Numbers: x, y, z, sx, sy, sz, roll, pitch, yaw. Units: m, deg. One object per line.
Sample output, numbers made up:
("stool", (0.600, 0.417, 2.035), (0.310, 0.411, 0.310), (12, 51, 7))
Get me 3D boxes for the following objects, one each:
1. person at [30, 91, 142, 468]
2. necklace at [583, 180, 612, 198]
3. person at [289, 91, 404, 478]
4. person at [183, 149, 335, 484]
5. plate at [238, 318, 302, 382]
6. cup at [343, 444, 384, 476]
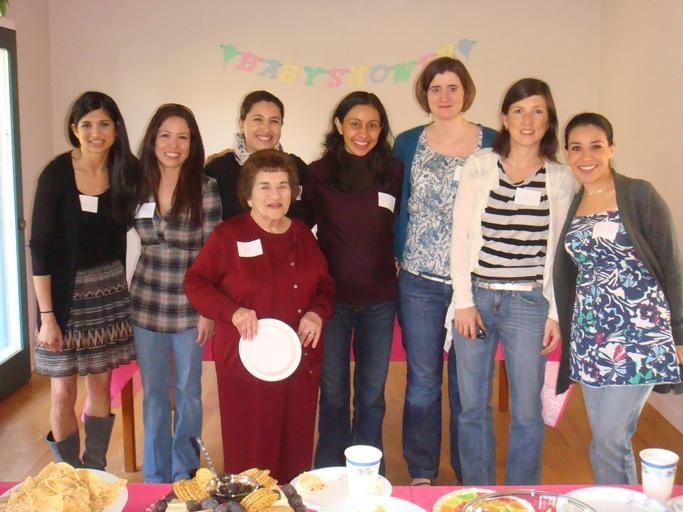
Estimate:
("person", (-1.346, 0.161, 3.051), (0.545, 2.042, 0.249), (-4, 10, -30))
("necklace", (1.236, -0.332, 2.751), (0.073, 0.083, 0.107), (-18, -16, 11))
("person", (0.118, 0.261, 3.093), (0.791, 2.250, 0.772), (1, 15, 4))
("person", (-0.339, 0.460, 2.893), (0.748, 1.916, 0.604), (-8, 21, -28))
("plate", (-0.322, 0.417, 2.578), (0.267, 0.241, 0.148), (-1, 8, -11))
("cup", (0.068, 0.659, 1.808), (0.094, 0.077, 0.101), (0, 4, 0))
